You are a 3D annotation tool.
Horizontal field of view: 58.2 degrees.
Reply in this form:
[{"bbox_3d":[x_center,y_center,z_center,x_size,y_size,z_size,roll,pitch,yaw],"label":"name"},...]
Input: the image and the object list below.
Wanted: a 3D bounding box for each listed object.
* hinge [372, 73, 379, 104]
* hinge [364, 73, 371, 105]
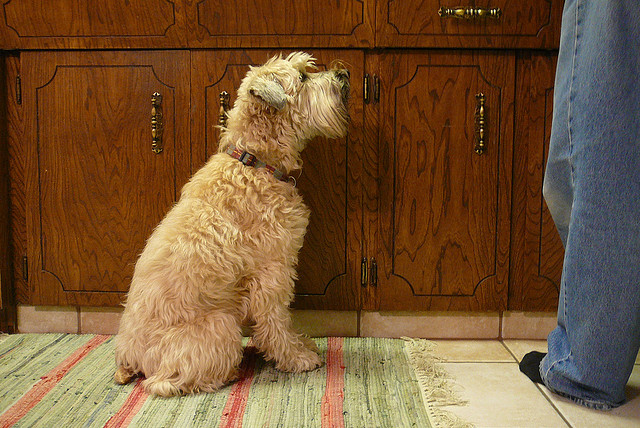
[{"bbox_3d":[0.289,-0.650,3.007,0.032,0.144,0.019,-1,10,-2],"label":"hinge"},{"bbox_3d":[0.247,-0.651,3.009,0.033,0.150,0.016,0,10,3],"label":"hinge"}]
